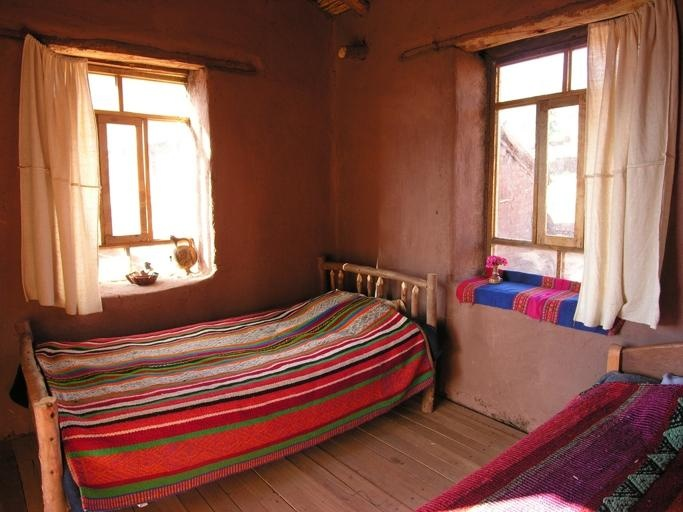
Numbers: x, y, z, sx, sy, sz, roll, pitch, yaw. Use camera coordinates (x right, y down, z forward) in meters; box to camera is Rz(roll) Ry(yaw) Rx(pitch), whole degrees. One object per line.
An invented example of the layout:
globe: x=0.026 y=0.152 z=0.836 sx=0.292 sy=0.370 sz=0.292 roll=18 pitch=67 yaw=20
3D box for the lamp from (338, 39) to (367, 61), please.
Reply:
lamp: x=0.096 y=-1.800 z=4.843 sx=0.129 sy=0.176 sz=0.260 roll=-11 pitch=13 yaw=-40

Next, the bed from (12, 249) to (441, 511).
bed: x=-0.547 y=0.617 z=4.000 sx=2.298 sy=0.955 sz=1.611 roll=-12 pitch=22 yaw=-30

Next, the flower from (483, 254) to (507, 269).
flower: x=1.208 y=0.046 z=4.301 sx=0.104 sy=0.082 sz=0.117 roll=0 pitch=7 yaw=-15
